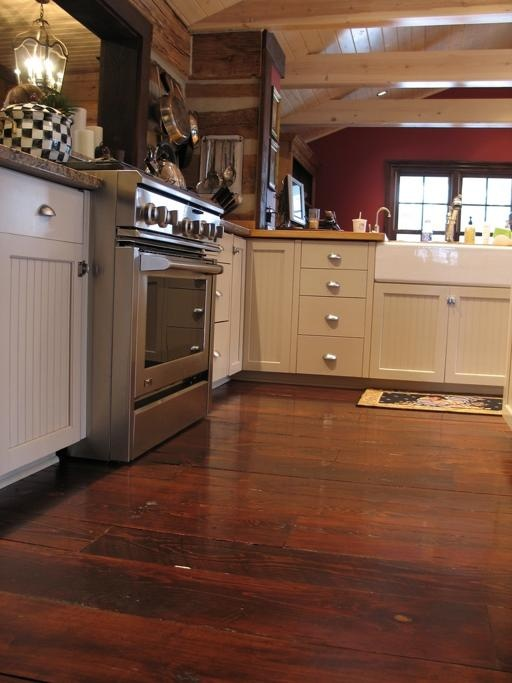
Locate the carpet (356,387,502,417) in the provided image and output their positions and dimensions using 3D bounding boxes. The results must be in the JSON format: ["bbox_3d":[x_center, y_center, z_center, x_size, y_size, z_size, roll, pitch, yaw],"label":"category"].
[{"bbox_3d":[0.962,0.328,3.053,0.818,0.027,0.593,3,3,8],"label":"carpet"}]

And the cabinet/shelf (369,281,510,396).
[{"bbox_3d":[1.104,-0.043,3.493,1.113,0.684,0.581,2,1,10],"label":"cabinet/shelf"}]
